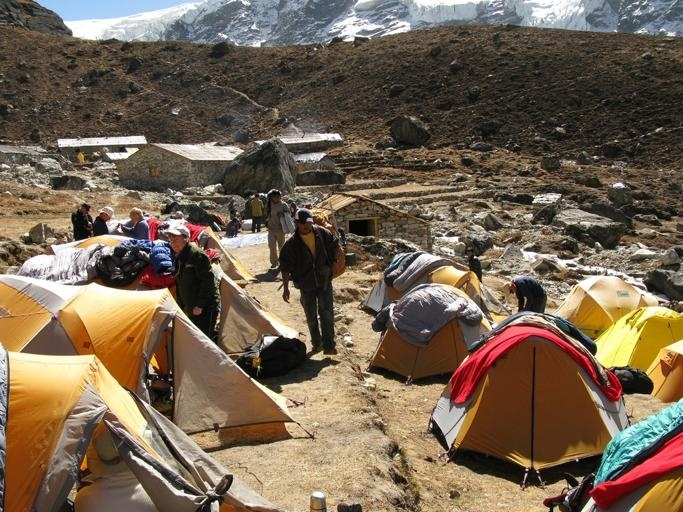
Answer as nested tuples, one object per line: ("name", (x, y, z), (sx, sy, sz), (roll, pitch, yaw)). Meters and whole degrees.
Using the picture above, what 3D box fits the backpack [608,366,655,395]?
("backpack", (4.337, 1.878, 8.926), (0.511, 0.211, 0.573), (4, -4, -16))

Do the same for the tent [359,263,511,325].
("tent", (1.550, 0.769, 11.554), (1.782, 0.610, 2.163), (-12, 8, -42))

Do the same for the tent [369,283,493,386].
("tent", (1.424, 1.223, 9.390), (1.755, 0.715, 1.856), (-7, 1, -27))

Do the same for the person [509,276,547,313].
("person", (3.247, 0.721, 10.366), (0.595, 0.640, 0.639), (1, 22, 13))
